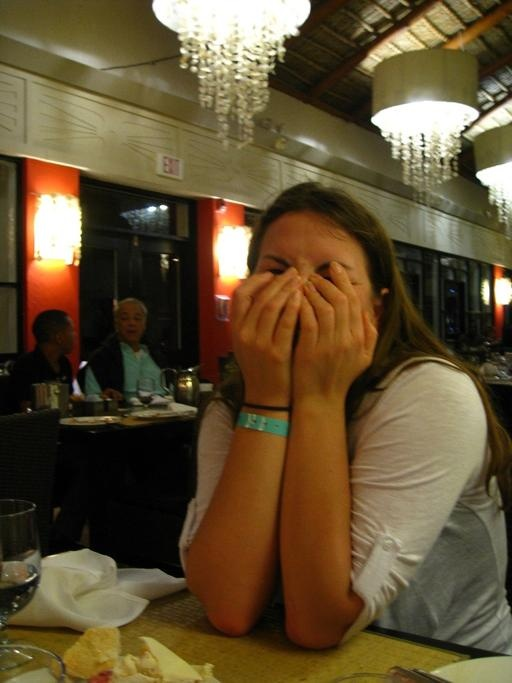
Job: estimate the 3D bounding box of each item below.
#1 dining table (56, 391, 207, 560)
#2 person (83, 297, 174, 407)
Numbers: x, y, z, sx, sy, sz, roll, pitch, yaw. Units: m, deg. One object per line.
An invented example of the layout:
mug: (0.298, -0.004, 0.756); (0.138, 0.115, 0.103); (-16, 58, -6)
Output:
dining table: (-0.550, 0.551, 2.371); (0.765, 0.475, 0.416); (-10, -18, 39)
person: (-0.896, 0.101, 4.236); (0.775, 0.825, 0.614); (2, -14, -37)
